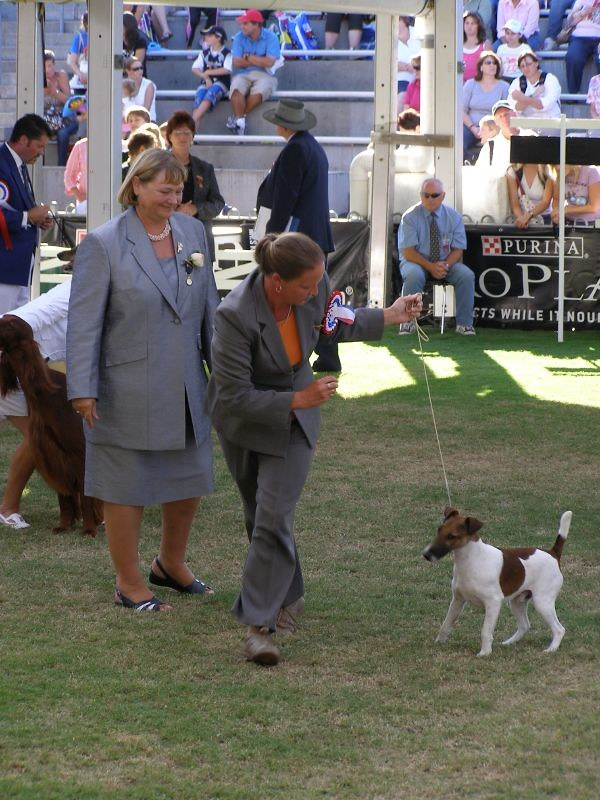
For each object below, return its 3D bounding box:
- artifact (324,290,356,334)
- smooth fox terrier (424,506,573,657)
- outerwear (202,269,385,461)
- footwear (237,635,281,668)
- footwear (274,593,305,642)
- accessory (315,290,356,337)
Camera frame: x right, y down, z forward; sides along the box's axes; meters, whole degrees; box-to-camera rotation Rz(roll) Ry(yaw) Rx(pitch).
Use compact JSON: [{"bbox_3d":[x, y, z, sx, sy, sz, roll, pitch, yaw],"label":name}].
[{"bbox_3d":[0.146,-0.314,5.581,0.061,0.164,0.102,12,11,30],"label":"artifact"},{"bbox_3d":[0.733,0.655,5.571,0.666,0.589,0.372,8,-9,-29],"label":"smooth fox terrier"},{"bbox_3d":[-0.020,-0.130,5.477,0.587,0.661,0.470,-1,12,-10],"label":"outerwear"},{"bbox_3d":[-0.125,0.910,5.472,0.065,0.081,0.173,-1,5,-14],"label":"footwear"},{"bbox_3d":[-0.035,0.853,5.888,0.057,0.082,0.186,-1,13,20],"label":"footwear"},{"bbox_3d":[0.143,-0.309,5.580,0.063,0.172,0.105,13,17,42],"label":"accessory"}]
